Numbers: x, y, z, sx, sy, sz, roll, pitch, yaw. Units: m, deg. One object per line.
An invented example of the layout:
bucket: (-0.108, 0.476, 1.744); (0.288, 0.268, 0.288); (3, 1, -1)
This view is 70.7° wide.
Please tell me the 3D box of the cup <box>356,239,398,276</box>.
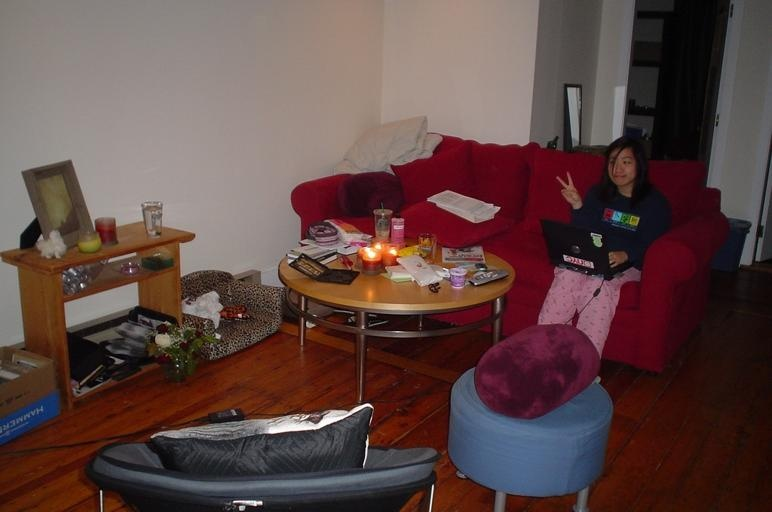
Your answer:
cup: (-0.043, 0.008, 3.248); (0.169, 0.079, 0.214); (4, 16, 9)

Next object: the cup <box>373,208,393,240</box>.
cup: (-0.018, -0.204, 3.460); (0.112, 0.194, 0.197); (-4, 17, 0)

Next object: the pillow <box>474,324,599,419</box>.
pillow: (0.669, 0.507, 2.398); (0.537, 0.308, 0.270); (-11, 18, -23)

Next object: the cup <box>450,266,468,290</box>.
cup: (0.397, 0.123, 3.093); (0.104, 0.077, 0.105); (0, 20, 0)

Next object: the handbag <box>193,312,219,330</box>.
handbag: (-1.142, 0.428, 3.481); (0.143, 0.051, 0.104); (19, 2, -38)

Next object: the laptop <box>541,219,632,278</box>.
laptop: (1.213, -0.103, 3.277); (0.350, 0.373, 0.435); (-32, 34, -33)

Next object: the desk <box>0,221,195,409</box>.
desk: (-1.671, 0.353, 3.107); (0.500, 0.749, 0.825); (15, 25, 31)

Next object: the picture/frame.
picture/frame: (-1.856, -0.274, 3.047); (0.060, 0.551, 0.411); (-7, 15, 33)

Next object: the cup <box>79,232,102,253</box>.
cup: (-1.619, -0.072, 2.968); (0.108, 0.091, 0.105); (-2, 1, 0)

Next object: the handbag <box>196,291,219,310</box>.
handbag: (-1.194, 0.298, 3.636); (0.132, 0.046, 0.101); (-11, 27, -28)

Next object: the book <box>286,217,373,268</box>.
book: (-0.351, -0.103, 3.626); (0.365, 0.091, 0.398); (22, 36, 31)

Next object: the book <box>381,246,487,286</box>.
book: (0.181, 0.061, 3.165); (0.332, 0.078, 0.333); (-24, 27, -35)

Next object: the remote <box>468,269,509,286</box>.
remote: (0.585, 0.118, 3.120); (0.188, 0.032, 0.100); (-13, 28, -28)

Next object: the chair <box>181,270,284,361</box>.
chair: (-1.067, 0.370, 3.709); (0.593, 0.397, 0.601); (17, 26, 33)

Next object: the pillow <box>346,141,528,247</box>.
pillow: (0.552, -0.494, 4.118); (1.036, 0.407, 0.971); (27, 52, 39)

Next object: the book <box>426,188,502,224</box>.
book: (0.530, -0.361, 3.933); (0.369, 0.088, 0.277); (25, 32, 36)

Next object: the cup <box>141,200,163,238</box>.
cup: (-1.408, -0.213, 3.265); (0.173, 0.193, 0.115); (21, 31, 30)

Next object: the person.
person: (1.393, -0.080, 3.483); (0.728, 1.267, 0.564); (-27, 37, -26)
